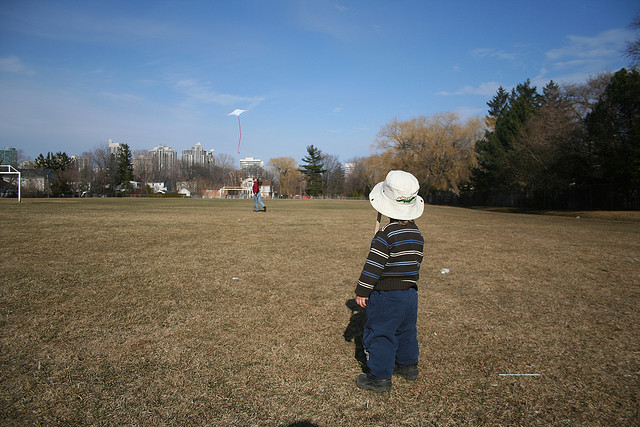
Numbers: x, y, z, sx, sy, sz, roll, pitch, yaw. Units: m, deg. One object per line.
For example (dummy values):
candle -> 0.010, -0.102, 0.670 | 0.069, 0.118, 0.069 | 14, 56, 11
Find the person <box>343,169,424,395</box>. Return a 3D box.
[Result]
person -> 0.861, 0.805, 5.718 | 0.817, 2.625, 0.770 | 2, 7, 8
